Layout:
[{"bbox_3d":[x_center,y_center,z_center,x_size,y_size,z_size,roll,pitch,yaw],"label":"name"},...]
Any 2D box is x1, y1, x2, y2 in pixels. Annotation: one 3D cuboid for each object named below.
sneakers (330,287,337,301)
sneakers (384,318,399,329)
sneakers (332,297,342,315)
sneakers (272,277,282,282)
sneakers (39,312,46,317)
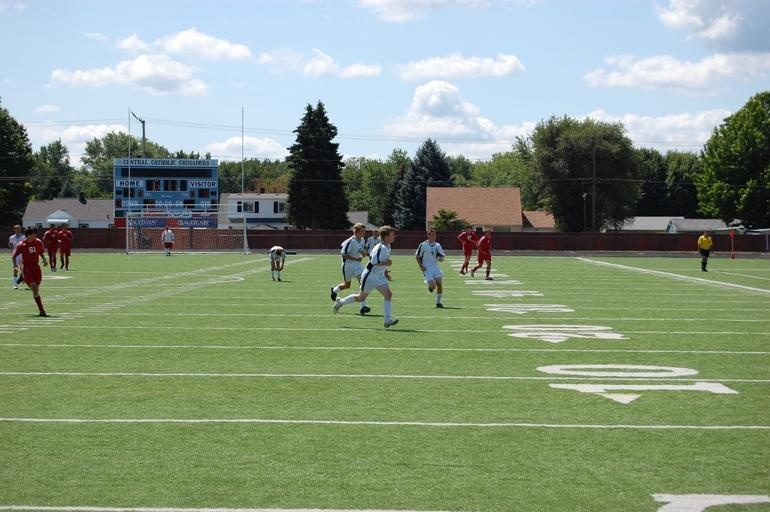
[{"bbox_3d":[-1.099,0.823,22.930,0.130,0.150,0.355,5,-20,3],"label":"sneakers"},{"bbox_3d":[0.088,1.295,20.287,0.321,0.151,0.107,-22,32,24],"label":"sneakers"},{"bbox_3d":[-0.926,1.037,21.800,0.128,0.299,0.228,27,-9,-36],"label":"sneakers"},{"bbox_3d":[-3.238,0.722,31.767,0.329,0.200,0.107,-2,1,29],"label":"sneakers"},{"bbox_3d":[-6.960,1.203,21.668,0.120,0.105,0.069,0,0,15],"label":"sneakers"}]
